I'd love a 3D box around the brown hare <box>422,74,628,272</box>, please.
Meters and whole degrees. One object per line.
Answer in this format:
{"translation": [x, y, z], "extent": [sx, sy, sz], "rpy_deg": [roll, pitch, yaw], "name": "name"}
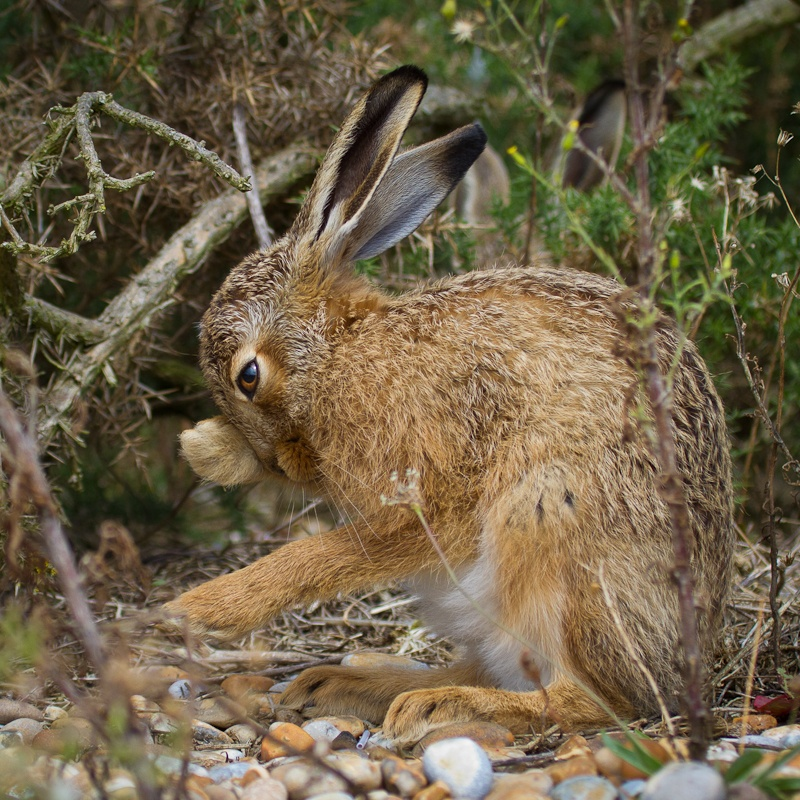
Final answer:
{"translation": [0.538, -0.824, 3.840], "extent": [0.318, 0.938, 0.410], "rpy_deg": [23, 12, -49], "name": "brown hare"}
